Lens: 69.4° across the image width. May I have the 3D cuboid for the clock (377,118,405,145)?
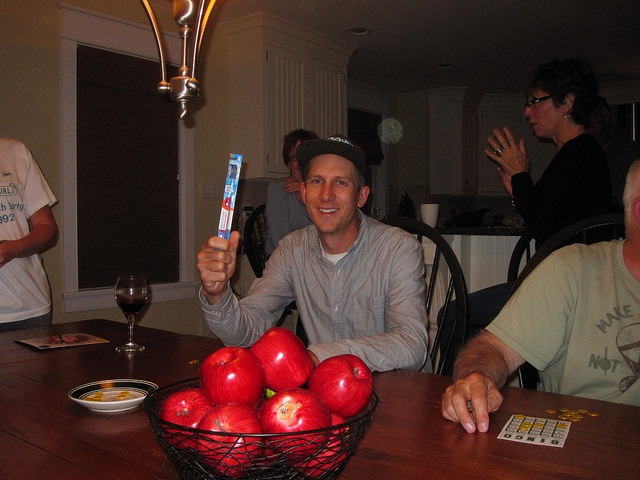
[{"bbox_3d":[0.960,-1.484,6.318,0.334,0.384,0.082,8,0,-24],"label":"clock"}]

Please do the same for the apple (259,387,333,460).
[{"bbox_3d":[-0.027,0.281,0.683,0.080,0.105,0.083,-17,13,20],"label":"apple"}]

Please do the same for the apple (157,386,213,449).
[{"bbox_3d":[-0.209,0.278,0.705,0.071,0.084,0.080,19,31,1],"label":"apple"}]

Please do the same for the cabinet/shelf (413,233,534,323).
[{"bbox_3d":[1.111,0.327,3.663,0.703,1.027,0.675,-1,-15,12],"label":"cabinet/shelf"}]

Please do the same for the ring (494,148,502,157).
[{"bbox_3d":[0.956,-0.470,2.491,0.012,0.042,0.029,-12,-33,11],"label":"ring"}]

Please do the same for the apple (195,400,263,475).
[{"bbox_3d":[-0.122,0.273,0.624,0.085,0.083,0.076,1,4,-16],"label":"apple"}]

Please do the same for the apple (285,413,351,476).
[{"bbox_3d":[-0.002,0.281,0.672,0.060,0.048,0.080,-19,1,39],"label":"apple"}]
